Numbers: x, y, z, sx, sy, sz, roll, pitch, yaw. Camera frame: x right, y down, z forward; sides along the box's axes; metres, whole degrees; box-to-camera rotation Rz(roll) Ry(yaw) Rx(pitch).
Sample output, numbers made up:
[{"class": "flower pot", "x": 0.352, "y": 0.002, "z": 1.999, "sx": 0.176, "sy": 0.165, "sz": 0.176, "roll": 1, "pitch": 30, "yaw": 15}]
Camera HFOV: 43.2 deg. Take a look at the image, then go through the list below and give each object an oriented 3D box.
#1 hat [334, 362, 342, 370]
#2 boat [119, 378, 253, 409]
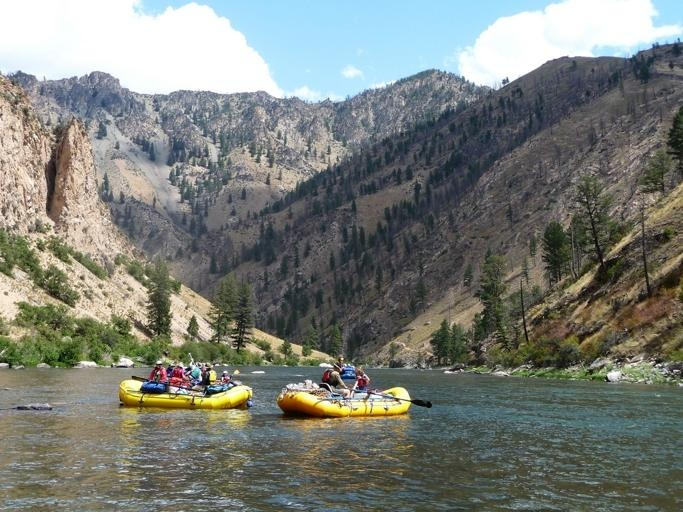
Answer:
[{"class": "hat", "x": -0.477, "y": 12.736, "z": 100.261, "sx": 0.615, "sy": 0.774, "sz": 0.823, "roll": 5, "pitch": -13, "yaw": -16}, {"class": "boat", "x": -18.447, "y": 16.238, "z": 100.902, "sx": 14.497, "sy": 3.377, "sz": 1.478, "roll": 1, "pitch": -11, "yaw": -4}]
